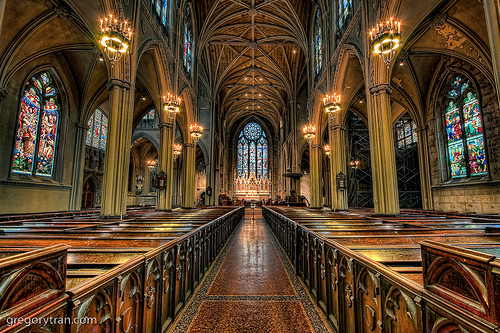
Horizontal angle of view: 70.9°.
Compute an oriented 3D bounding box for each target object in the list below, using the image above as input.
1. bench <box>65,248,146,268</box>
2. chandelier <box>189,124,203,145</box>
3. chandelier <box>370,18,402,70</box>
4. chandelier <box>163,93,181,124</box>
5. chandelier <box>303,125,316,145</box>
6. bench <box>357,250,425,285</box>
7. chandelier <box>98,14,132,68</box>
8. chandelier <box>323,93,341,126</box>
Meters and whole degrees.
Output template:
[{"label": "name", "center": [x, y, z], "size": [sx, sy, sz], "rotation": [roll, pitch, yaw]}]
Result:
[{"label": "bench", "center": [-3.115, 1.841, 7.276], "size": [1.480, 0.386, 0.532], "rotation": [-9, 5, 13]}, {"label": "chandelier", "center": [-2.976, -1.844, 19.607], "size": [0.728, 1.225, 0.771], "rotation": [0, -5, 11]}, {"label": "chandelier", "center": [4.649, -4.195, 11.964], "size": [0.931, 1.608, 1.759], "rotation": [-6, 5, 24]}, {"label": "chandelier", "center": [-3.590, -2.713, 16.393], "size": [0.748, 1.088, 2.021], "rotation": [-9, 4, -13]}, {"label": "chandelier", "center": [3.347, -1.947, 19.845], "size": [0.616, 1.037, 0.653], "rotation": [0, -3, 8]}, {"label": "bench", "center": [2.979, 1.964, 7.156], "size": [0.956, 0.424, 1.111], "rotation": [-7, 5, 28]}, {"label": "chandelier", "center": [-4.493, -4.050, 11.650], "size": [1.009, 1.576, 1.010], "rotation": [1, -4, -12]}, {"label": "chandelier", "center": [3.835, -2.631, 16.470], "size": [0.729, 1.369, 2.485], "rotation": [-8, 5, 8]}]
